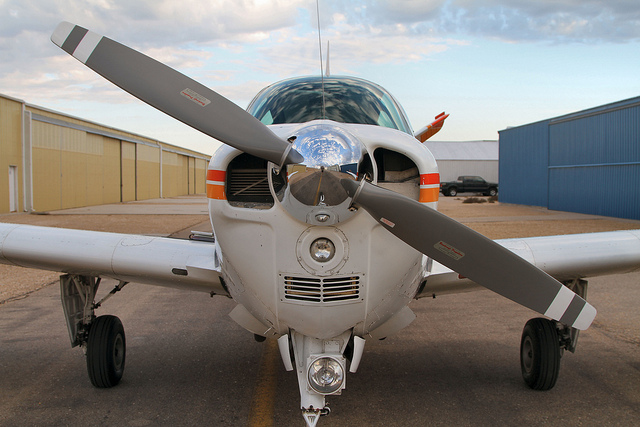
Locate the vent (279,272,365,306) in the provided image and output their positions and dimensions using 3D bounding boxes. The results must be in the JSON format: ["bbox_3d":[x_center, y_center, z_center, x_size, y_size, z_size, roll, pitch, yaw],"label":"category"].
[{"bbox_3d":[-0.007,0.601,3.594,0.679,0.266,0.261,1,3,1],"label":"vent"}]

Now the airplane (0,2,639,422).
[{"bbox_3d":[0.188,0.209,5.629,5.050,2.612,4.469,1,2,2],"label":"airplane"}]

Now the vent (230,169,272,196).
[{"bbox_3d":[-0.569,-0.261,3.698,0.330,0.218,0.075,2,-2,-1],"label":"vent"}]

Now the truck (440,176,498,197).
[{"bbox_3d":[12.833,-2.325,39.292,4.526,1.528,2.006,-1,4,-1],"label":"truck"}]

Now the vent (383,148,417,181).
[{"bbox_3d":[0.661,-0.418,3.755,0.273,0.254,0.063,2,1,-5],"label":"vent"}]
